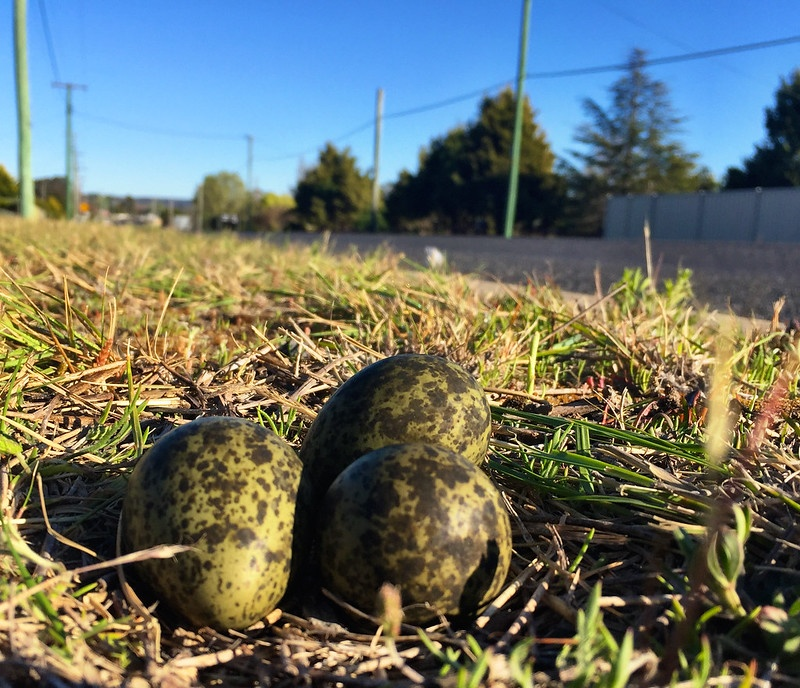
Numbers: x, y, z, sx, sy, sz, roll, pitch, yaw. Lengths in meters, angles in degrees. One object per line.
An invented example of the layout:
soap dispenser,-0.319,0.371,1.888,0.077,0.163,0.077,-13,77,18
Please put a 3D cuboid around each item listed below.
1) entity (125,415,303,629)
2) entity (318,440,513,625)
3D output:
entity,-0.474,0.446,1.792,0.342,0.515,0.391,-21,-26,-11
entity,0.068,0.369,1.783,0.365,0.535,0.420,-18,34,-23
